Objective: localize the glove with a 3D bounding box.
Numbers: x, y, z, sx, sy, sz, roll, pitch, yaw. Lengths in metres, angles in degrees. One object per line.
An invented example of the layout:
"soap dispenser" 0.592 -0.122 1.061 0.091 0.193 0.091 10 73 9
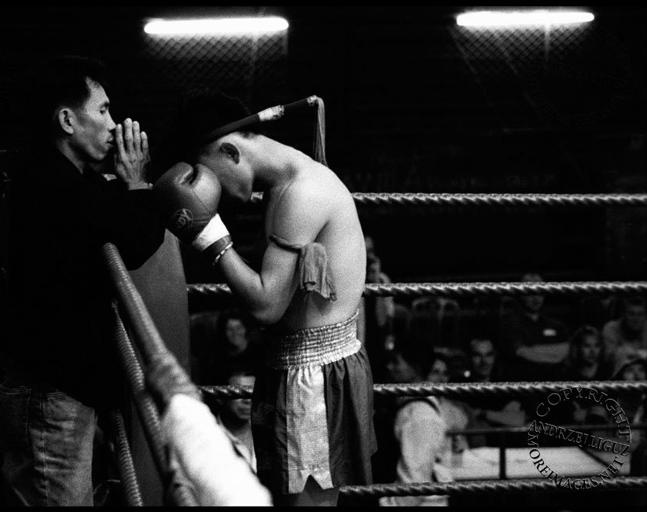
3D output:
"glove" -0.429 -0.145 3.032 0.185 0.301 0.220 -13 36 22

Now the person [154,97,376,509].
"person" -0.183 0.136 3.057 0.649 1.355 0.265 0 0 7
